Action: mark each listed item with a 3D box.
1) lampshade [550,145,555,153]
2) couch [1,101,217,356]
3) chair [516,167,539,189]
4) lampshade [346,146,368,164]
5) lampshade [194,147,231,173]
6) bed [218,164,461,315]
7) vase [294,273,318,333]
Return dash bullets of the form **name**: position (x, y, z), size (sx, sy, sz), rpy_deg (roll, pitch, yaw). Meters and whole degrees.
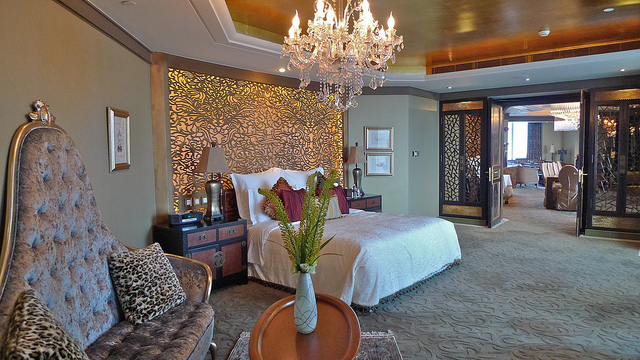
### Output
- **lampshade**: position (11.306, -1.553, 18.090), size (0.182, 0.373, 0.114), rpy_deg (-1, 3, 29)
- **couch**: position (-2.103, 0.479, 3.576), size (1.543, 2.545, 0.988), rpy_deg (-4, 3, -36)
- **chair**: position (8.984, -0.107, 15.927), size (0.895, 0.971, 1.097), rpy_deg (-2, -12, 40)
- **lampshade**: position (0.788, -0.533, 7.943), size (0.363, 0.394, 0.430), rpy_deg (-2, 1, -10)
- **lampshade**: position (-1.676, -0.317, 5.891), size (0.460, 0.295, 0.445), rpy_deg (0, 1, 21)
- **bed**: position (0.108, 0.960, 5.973), size (2.731, 1.323, 2.755), rpy_deg (-1, 1, 34)
- **vase**: position (-0.145, 1.210, 3.678), size (0.223, 0.577, 0.135), rpy_deg (-2, 3, -2)
